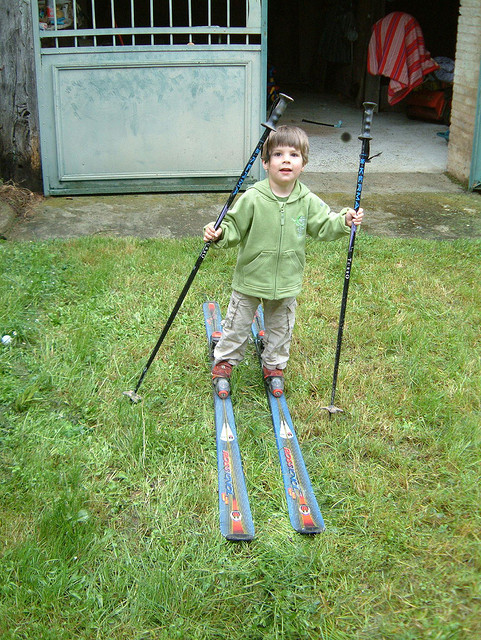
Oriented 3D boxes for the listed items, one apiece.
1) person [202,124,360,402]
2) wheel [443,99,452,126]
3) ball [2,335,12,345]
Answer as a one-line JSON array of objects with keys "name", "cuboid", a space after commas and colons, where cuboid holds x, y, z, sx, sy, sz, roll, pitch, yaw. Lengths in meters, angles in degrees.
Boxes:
[{"name": "person", "cuboid": [0.169, -0.212, 2.266, 0.610, 1.179, 0.434, 6, 22, 2]}, {"name": "wheel", "cuboid": [3.883, -3.883, 9.651, 0.125, 0.456, 0.321, 8, 19, 14]}, {"name": "ball", "cuboid": [-1.201, 0.104, 2.653, 0.043, 0.039, 0.063, -3, 20, -21]}]
